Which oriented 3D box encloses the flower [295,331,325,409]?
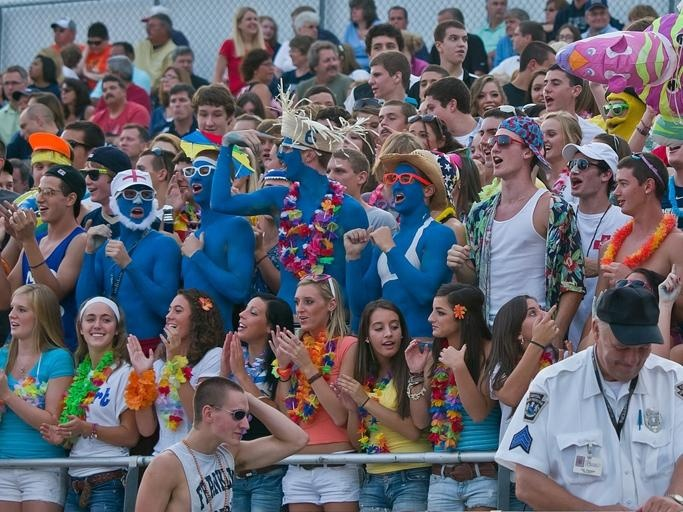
[{"bbox_3d":[-0.291,0.980,13.293,0.336,0.535,0.195,-4,-7,33],"label":"flower"}]

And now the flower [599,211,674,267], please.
[{"bbox_3d":[2.378,-0.109,13.201,0.619,0.435,0.293,-7,-9,15],"label":"flower"}]

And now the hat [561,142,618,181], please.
[{"bbox_3d":[2.047,-0.823,13.628,0.397,0.141,0.253,24,-2,-21],"label":"hat"}]

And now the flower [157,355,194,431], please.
[{"bbox_3d":[-1.389,1.098,13.312,0.436,0.501,0.196,-8,-11,8],"label":"flower"}]

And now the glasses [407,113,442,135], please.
[{"bbox_3d":[0.770,-1.227,14.819,0.193,0.060,0.195,6,-28,28],"label":"glasses"}]

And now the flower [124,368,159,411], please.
[{"bbox_3d":[-1.657,1.082,13.429,0.274,0.337,0.145,-4,-9,-2],"label":"flower"}]

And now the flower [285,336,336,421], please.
[{"bbox_3d":[-0.275,0.982,13.296,0.420,0.645,0.236,-1,-12,29],"label":"flower"}]

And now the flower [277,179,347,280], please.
[{"bbox_3d":[-0.271,-0.211,13.886,0.535,0.816,0.211,0,-14,31],"label":"flower"}]

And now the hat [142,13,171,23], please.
[{"bbox_3d":[-2.307,-2.896,20.190,0.362,0.135,0.293,-3,-9,-7],"label":"hat"}]

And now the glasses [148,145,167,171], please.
[{"bbox_3d":[-1.797,-0.941,15.828,0.078,0.205,0.147,-8,7,-36],"label":"glasses"}]

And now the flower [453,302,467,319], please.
[{"bbox_3d":[0.920,0.436,12.996,0.096,0.097,0.033,-11,3,3],"label":"flower"}]

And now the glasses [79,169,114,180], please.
[{"bbox_3d":[-2.226,-0.757,15.036,0.173,0.053,0.178,-2,-11,27],"label":"glasses"}]

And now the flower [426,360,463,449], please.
[{"bbox_3d":[0.790,1.174,12.910,0.238,0.637,0.249,-1,-8,10],"label":"flower"}]

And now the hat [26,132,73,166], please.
[{"bbox_3d":[-2.829,-1.026,15.999,0.461,0.330,0.333,0,-10,-28],"label":"hat"}]

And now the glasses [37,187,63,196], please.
[{"bbox_3d":[-2.613,-0.570,14.575,0.199,0.079,0.071,-5,-9,3],"label":"glasses"}]

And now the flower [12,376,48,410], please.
[{"bbox_3d":[-2.600,1.121,13.611,0.286,0.270,0.109,-3,-9,-5],"label":"flower"}]

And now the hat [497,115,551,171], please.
[{"bbox_3d":[1.472,-0.964,13.456,0.501,0.261,0.303,34,2,-15],"label":"hat"}]

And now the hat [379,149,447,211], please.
[{"bbox_3d":[0.585,-0.580,13.623,0.493,0.524,0.159,7,38,42],"label":"hat"}]

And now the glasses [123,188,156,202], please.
[{"bbox_3d":[-1.797,-0.529,14.318,0.279,0.105,0.056,-2,-9,-12],"label":"glasses"}]

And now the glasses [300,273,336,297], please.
[{"bbox_3d":[-0.171,0.206,13.487,0.205,0.219,0.066,1,32,24],"label":"glasses"}]

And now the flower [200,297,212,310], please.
[{"bbox_3d":[-1.145,0.393,13.668,0.100,0.100,0.030,22,-36,-40],"label":"flower"}]

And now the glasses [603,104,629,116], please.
[{"bbox_3d":[2.484,-1.337,14.822,0.130,0.044,0.136,-4,-13,44],"label":"glasses"}]

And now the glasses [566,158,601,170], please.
[{"bbox_3d":[1.964,-0.760,13.609,0.113,0.046,0.140,-8,-14,43],"label":"glasses"}]

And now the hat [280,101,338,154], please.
[{"bbox_3d":[-0.286,-1.058,13.994,0.440,0.228,0.342,20,10,-31],"label":"hat"}]

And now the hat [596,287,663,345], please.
[{"bbox_3d":[1.994,0.404,11.386,0.316,0.222,0.454,-8,32,-14],"label":"hat"}]

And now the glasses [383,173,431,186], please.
[{"bbox_3d":[0.529,-0.633,13.695,0.174,0.052,0.179,-3,-15,41],"label":"glasses"}]

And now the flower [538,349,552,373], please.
[{"bbox_3d":[1.568,0.811,12.692,0.105,0.064,0.147,-2,33,4],"label":"flower"}]

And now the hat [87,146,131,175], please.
[{"bbox_3d":[-2.158,-0.892,15.127,0.349,0.214,0.252,29,0,-19],"label":"hat"}]
